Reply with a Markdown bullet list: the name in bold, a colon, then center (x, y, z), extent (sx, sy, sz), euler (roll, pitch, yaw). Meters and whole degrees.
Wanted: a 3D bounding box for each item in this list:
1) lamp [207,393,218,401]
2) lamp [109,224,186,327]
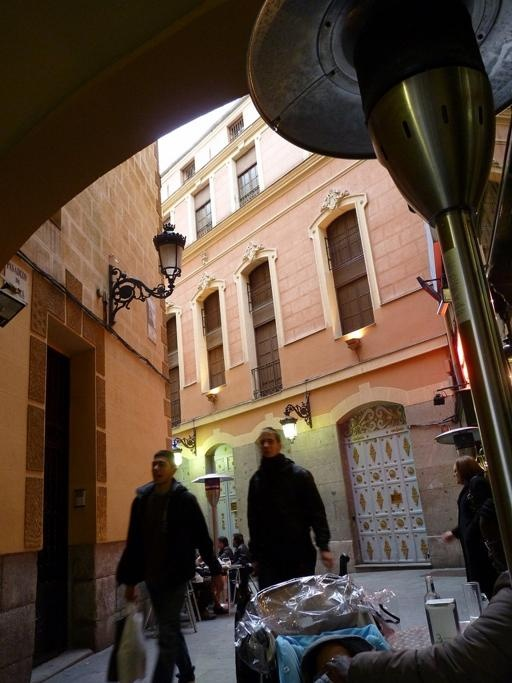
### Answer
- **lamp**: center (-1.573, 1.985, 17.520), extent (0.294, 0.313, 0.332), euler (15, -22, -24)
- **lamp**: center (-1.599, -0.905, 7.320), extent (1.129, 1.634, 1.696), euler (-6, -18, -9)
